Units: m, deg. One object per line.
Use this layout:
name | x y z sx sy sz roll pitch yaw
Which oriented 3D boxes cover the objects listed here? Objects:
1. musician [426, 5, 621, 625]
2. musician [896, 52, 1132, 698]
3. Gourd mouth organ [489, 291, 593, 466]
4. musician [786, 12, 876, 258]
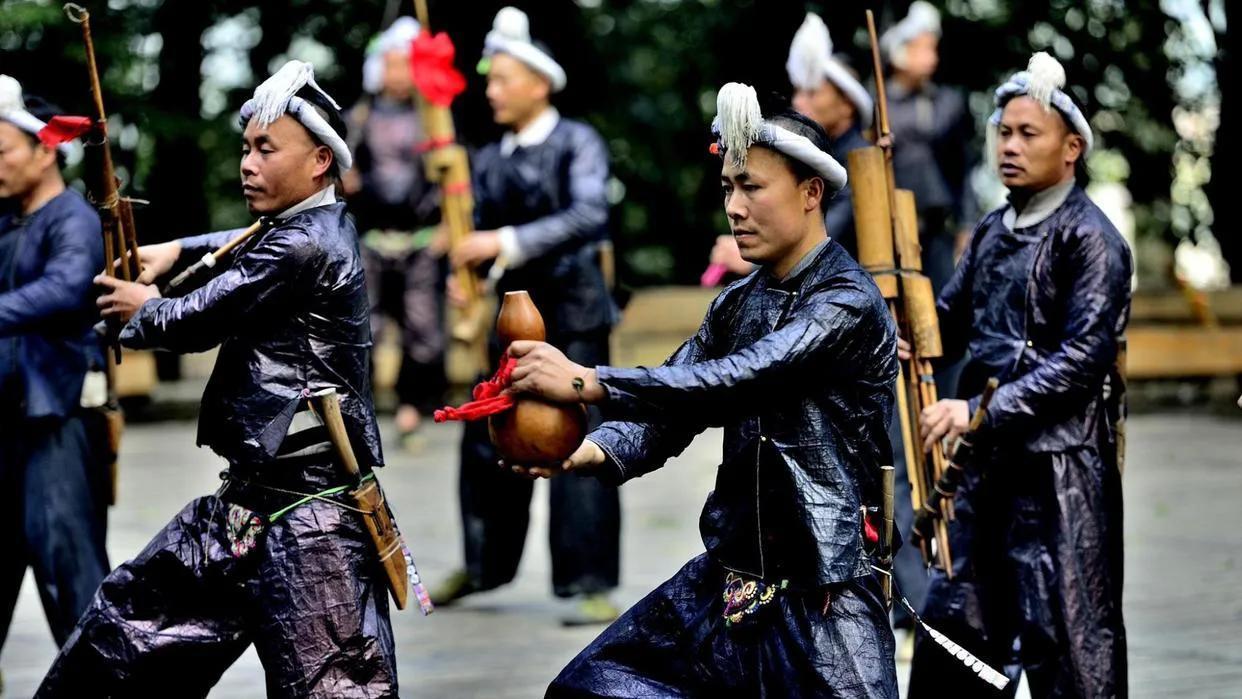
musician | -0.610 -0.113 16.329 1.487 3.434 1.823 -10 -2 -16
musician | 2.493 0.191 14.723 1.915 3.533 1.602 0 0 -40
Gourd mouth organ | -0.456 0.170 12.822 0.533 0.949 0.181 1 2 3
musician | 1.525 -1.585 16.115 0.617 1.905 0.569 2 2 -5
